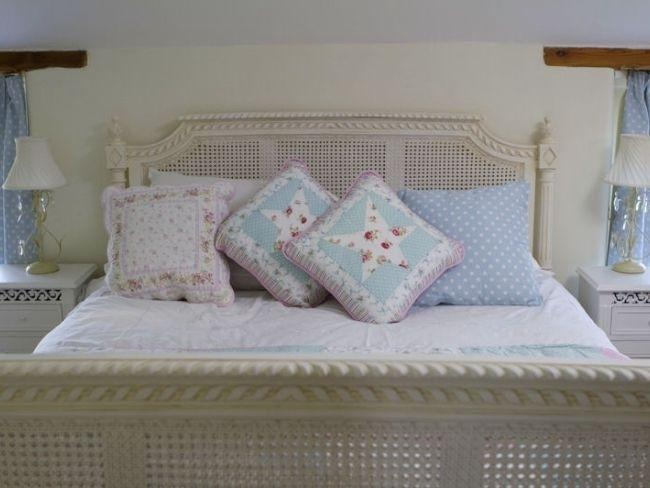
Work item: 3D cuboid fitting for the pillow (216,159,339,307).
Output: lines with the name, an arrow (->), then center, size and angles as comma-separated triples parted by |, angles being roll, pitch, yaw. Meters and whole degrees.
pillow -> -0.226, -0.042, 4.167 | 0.581, 0.580, 0.155 | -39, -13, -22

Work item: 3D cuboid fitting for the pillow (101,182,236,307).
pillow -> -0.746, -0.051, 3.910 | 0.582, 0.572, 0.159 | -2, -13, 3

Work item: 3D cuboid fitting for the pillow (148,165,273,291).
pillow -> -0.541, -0.165, 4.213 | 0.603, 0.594, 0.181 | 5, -25, -3
